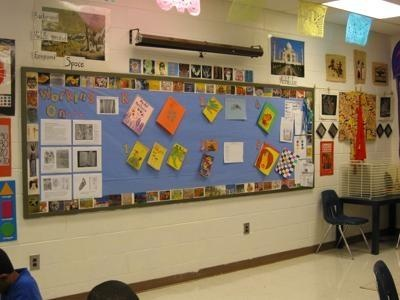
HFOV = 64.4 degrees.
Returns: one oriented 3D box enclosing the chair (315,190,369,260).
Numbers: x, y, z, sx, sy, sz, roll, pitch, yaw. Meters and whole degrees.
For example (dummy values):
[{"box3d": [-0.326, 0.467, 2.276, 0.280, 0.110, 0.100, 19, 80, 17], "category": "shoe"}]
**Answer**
[{"box3d": [2.358, 1.173, 5.186, 0.781, 0.973, 0.825, -2, -3, 23], "category": "chair"}]
